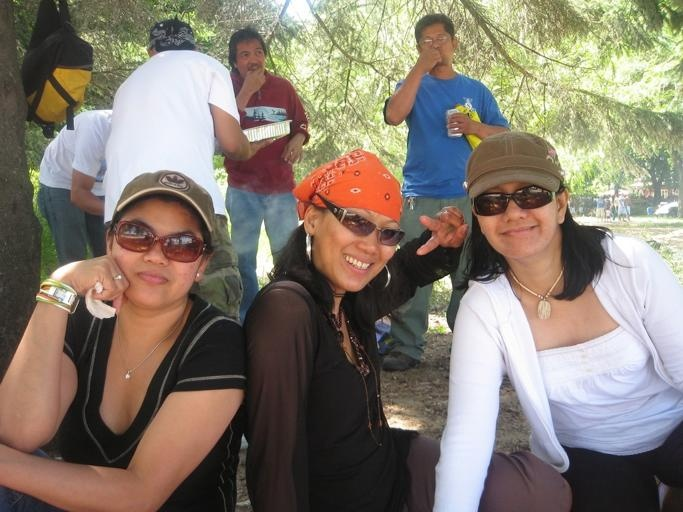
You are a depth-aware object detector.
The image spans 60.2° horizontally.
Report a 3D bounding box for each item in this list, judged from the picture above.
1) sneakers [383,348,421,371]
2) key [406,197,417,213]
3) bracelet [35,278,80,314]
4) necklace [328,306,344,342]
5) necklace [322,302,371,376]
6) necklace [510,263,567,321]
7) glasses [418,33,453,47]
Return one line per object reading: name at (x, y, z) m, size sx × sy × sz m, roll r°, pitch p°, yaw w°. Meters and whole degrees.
sneakers at (0.477, 0.869, 4.985) m, size 0.366 × 0.146 × 0.169 m, roll 1°, pitch 2°, yaw -8°
key at (0.553, -0.419, 4.747) m, size 0.085 × 0.094 × 0.021 m, roll 5°, pitch 2°, yaw 41°
bracelet at (-1.180, 0.155, 2.444) m, size 0.178 × 0.114 × 0.174 m, roll 28°, pitch -27°, yaw -17°
necklace at (-0.030, 0.309, 2.652) m, size 0.035 × 0.115 × 0.079 m, roll -5°, pitch 4°, yaw 23°
necklace at (0.042, 0.390, 2.678) m, size 0.067 × 0.414 × 0.105 m, roll -18°, pitch 9°, yaw 41°
necklace at (0.950, 0.177, 2.818) m, size 0.227 × 0.417 × 0.027 m, roll -1°, pitch -3°, yaw 17°
glasses at (0.724, -1.682, 4.600) m, size 0.229 × 0.094 × 0.070 m, roll -1°, pitch 3°, yaw 11°
